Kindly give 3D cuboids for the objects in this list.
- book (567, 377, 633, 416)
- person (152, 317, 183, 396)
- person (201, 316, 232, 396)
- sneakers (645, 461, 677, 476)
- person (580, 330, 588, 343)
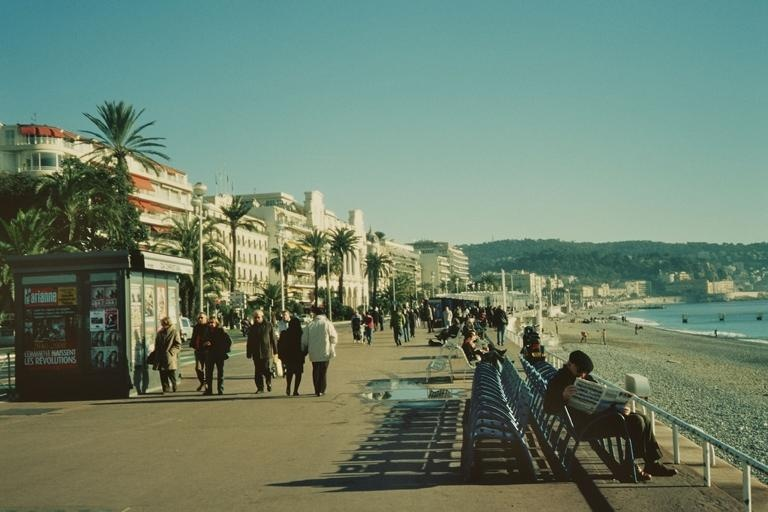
[{"bbox_3d":[3.576,2.400,14.301,0.709,0.279,0.755,4,-25,11],"label":"book"},{"bbox_3d":[-5.911,2.676,22.805,0.684,2.001,1.077,-1,-5,-9],"label":"person"},{"bbox_3d":[-4.554,2.691,22.803,0.692,2.041,1.086,0,-5,-13],"label":"person"},{"bbox_3d":[4.688,3.627,14.413,0.671,0.271,0.227,0,0,-4],"label":"sneakers"},{"bbox_3d":[22.232,9.040,93.834,0.933,1.719,0.454,7,-6,26],"label":"person"}]
